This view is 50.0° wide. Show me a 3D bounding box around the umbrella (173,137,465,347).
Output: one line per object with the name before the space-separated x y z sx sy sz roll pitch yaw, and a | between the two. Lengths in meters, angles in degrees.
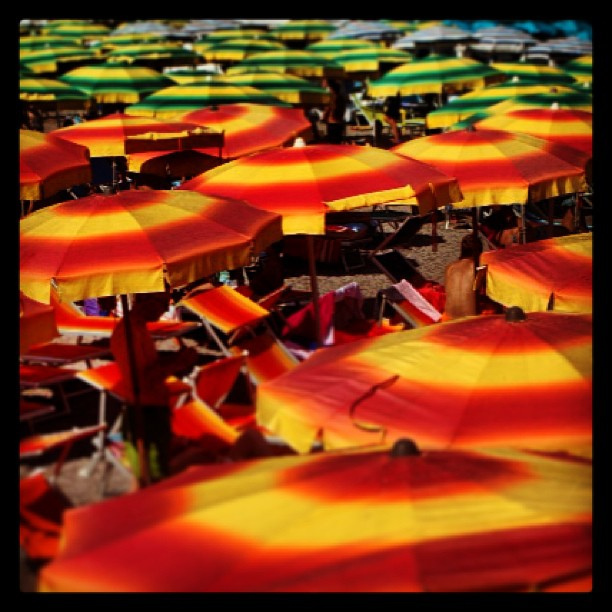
umbrella | 0.052 -0.525 6.134 2.450 1.556 1.891 -10 9 -9

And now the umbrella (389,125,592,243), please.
umbrella | 1.919 -1.519 7.215 1.914 0.994 1.916 13 25 30

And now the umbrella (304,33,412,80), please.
umbrella | 1.576 -7.148 19.370 3.417 0.971 2.744 -1 16 -4

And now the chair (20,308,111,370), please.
chair | -2.371 0.380 6.234 0.794 0.366 0.517 11 9 -3

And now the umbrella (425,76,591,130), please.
umbrella | 3.659 -4.335 13.872 2.204 0.572 1.866 -11 7 -4

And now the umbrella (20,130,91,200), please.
umbrella | -2.915 -1.664 7.559 0.708 0.737 2.058 -7 15 -16

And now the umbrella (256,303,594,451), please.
umbrella | 0.596 0.099 2.755 1.122 0.273 0.979 -10 10 -23

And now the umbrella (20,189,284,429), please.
umbrella | -1.124 -0.245 4.510 1.553 1.256 1.207 -3 41 3

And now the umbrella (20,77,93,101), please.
umbrella | -5.350 -4.508 13.666 1.275 0.516 1.193 2 14 15

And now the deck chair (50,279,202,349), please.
deck chair | -1.971 0.060 6.882 1.821 0.600 0.648 1 16 11
